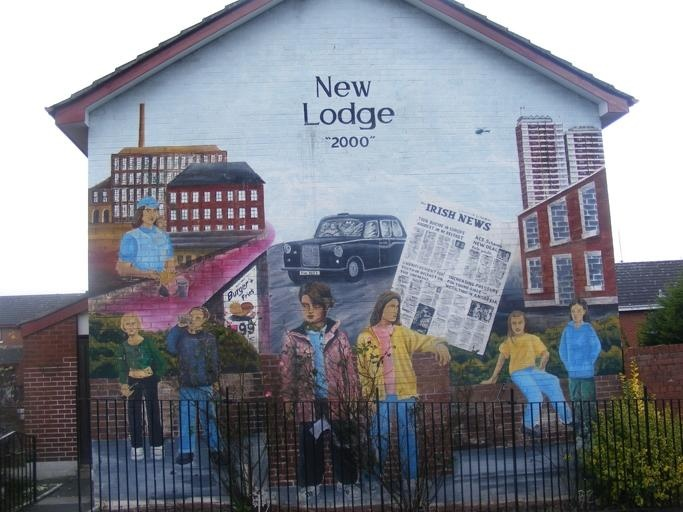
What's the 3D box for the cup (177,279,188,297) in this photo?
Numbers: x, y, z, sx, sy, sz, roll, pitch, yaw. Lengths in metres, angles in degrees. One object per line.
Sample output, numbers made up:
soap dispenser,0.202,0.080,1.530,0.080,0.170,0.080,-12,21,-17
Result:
cup,-3.835,0.760,31.010,0.354,0.525,0.374,-1,-10,0
